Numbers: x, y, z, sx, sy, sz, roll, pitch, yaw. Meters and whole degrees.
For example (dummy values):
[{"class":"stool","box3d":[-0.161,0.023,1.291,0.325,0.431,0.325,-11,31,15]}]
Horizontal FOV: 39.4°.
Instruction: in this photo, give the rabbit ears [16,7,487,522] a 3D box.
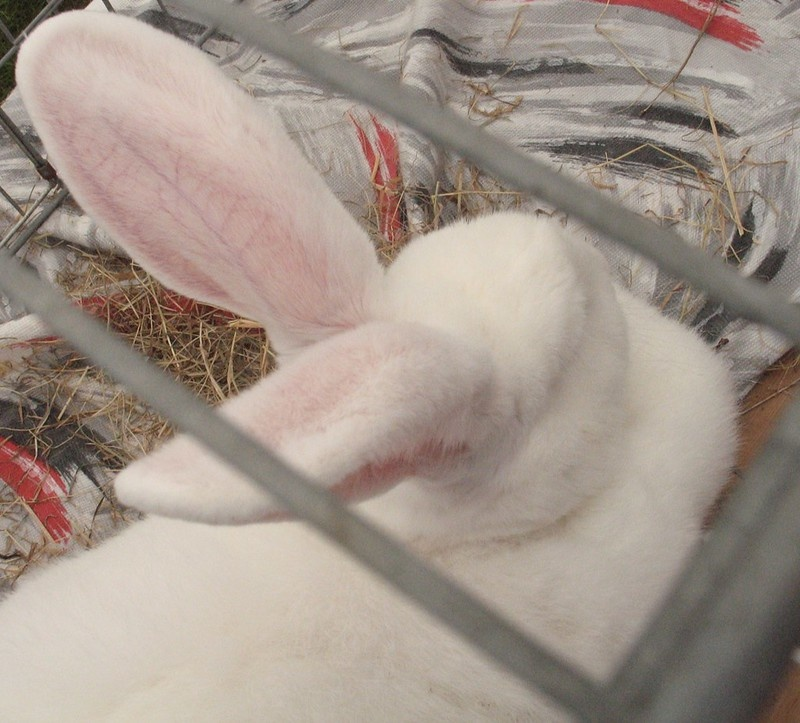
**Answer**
[{"class":"rabbit ears","box3d":[-0.130,-0.058,0.970,0.340,0.389,0.418,-22,57,-10]}]
